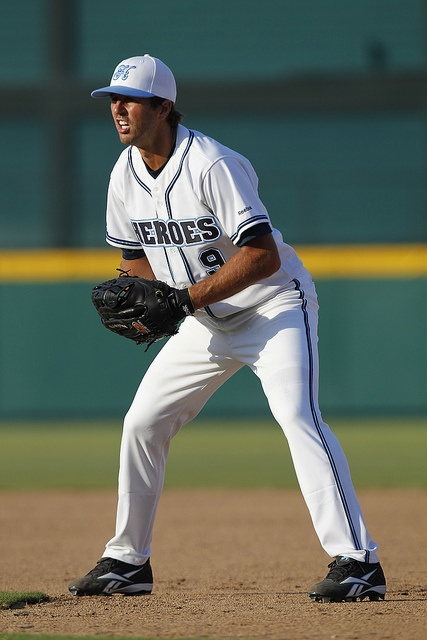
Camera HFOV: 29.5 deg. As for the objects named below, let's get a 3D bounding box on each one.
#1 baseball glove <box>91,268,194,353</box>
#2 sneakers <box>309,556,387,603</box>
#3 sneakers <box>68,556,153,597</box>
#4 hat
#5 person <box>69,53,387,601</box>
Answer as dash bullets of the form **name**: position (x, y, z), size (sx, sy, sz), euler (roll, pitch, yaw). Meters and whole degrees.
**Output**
- **baseball glove**: position (-0.176, -0.041, 2.434), size (0.287, 0.189, 0.441), euler (-6, -2, -32)
- **sneakers**: position (0.372, 0.727, 2.240), size (0.268, 0.126, 0.101), euler (1, -1, -14)
- **sneakers**: position (-0.300, 0.790, 2.506), size (0.312, 0.129, 0.095), euler (3, -4, -12)
- **hat**: position (-0.228, -0.712, 2.374), size (0.181, 0.121, 0.260), euler (15, 24, 38)
- **person**: position (0.024, 0.019, 2.464), size (0.926, 1.631, 0.598), euler (0, -9, -4)
